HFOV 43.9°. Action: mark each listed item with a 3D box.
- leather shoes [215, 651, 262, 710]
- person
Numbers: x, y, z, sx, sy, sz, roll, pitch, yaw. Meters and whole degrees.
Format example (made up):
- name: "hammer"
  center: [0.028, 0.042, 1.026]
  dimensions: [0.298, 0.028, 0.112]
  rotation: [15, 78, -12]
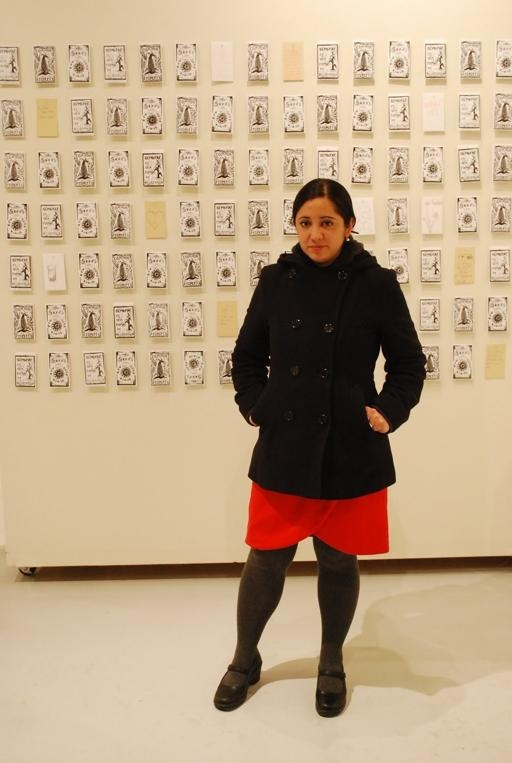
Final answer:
- name: "leather shoes"
  center: [-0.048, 0.835, 1.786]
  dimensions: [0.059, 0.072, 0.172]
  rotation: [3, 6, 22]
- name: "person"
  center: [0.160, 0.192, 1.672]
  dimensions: [0.530, 1.393, 0.278]
  rotation: [2, 7, 19]
